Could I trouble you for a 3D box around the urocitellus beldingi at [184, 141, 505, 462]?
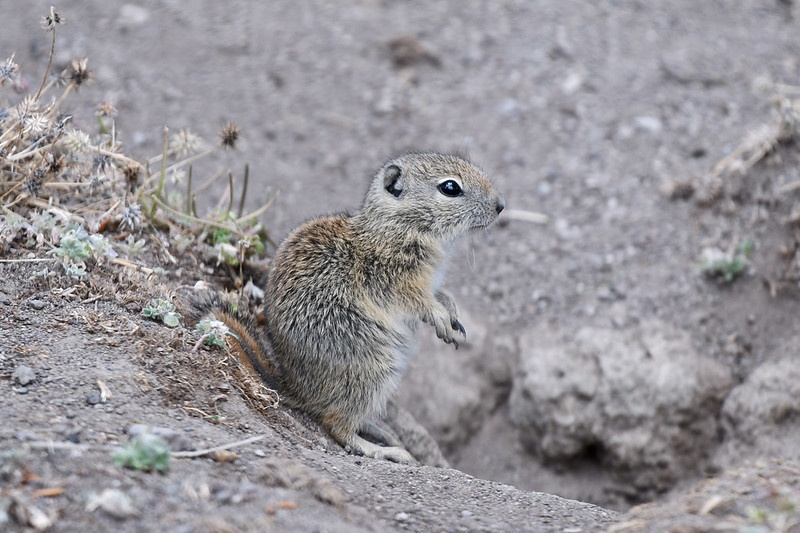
[{"bbox_3d":[-0.653,0.382,7.506,2.940,2.311,1.461,-4,4,1],"label":"urocitellus beldingi"}]
